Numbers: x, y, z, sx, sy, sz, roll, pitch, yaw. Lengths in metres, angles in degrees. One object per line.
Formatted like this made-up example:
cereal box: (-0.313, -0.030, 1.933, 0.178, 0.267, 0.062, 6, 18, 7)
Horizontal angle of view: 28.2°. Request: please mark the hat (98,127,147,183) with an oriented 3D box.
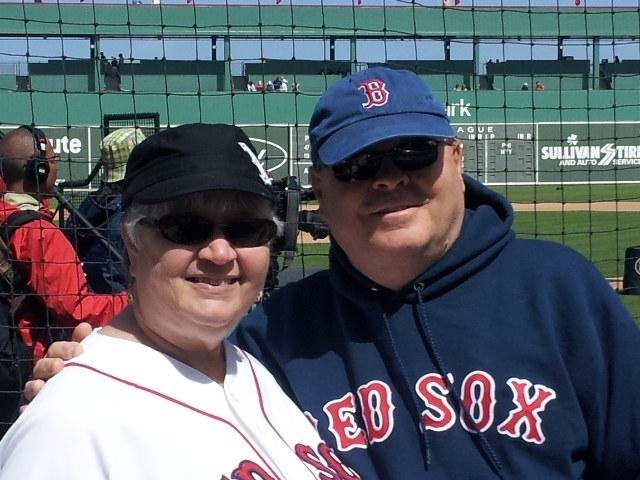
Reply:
hat: (-3.526, -1.559, 22.853, 0.738, 1.309, 0.621, 8, 13, 36)
